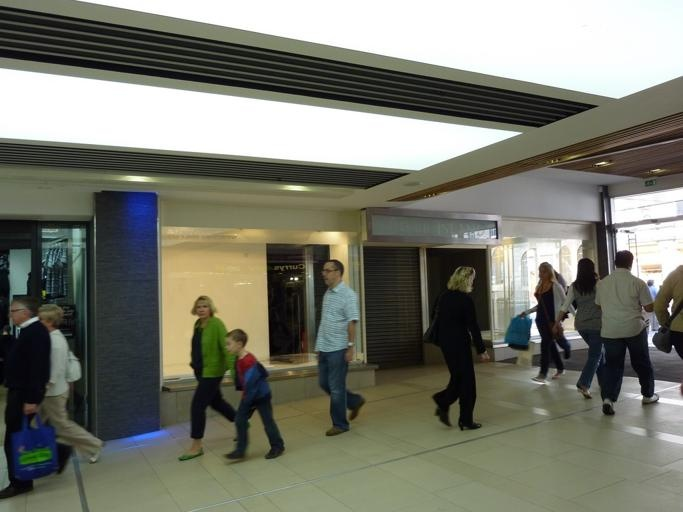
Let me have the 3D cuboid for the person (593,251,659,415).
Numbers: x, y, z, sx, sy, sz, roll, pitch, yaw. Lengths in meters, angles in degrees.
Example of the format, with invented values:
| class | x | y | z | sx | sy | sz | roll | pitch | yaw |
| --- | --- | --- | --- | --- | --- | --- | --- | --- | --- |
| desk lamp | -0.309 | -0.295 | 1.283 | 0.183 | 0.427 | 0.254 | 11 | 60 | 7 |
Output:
| class | x | y | z | sx | sy | sz | roll | pitch | yaw |
| --- | --- | --- | --- | --- | --- | --- | --- | --- | --- |
| person | 3.718 | 0.974 | 6.113 | 0.669 | 2.020 | 0.681 | -6 | -3 | 26 |

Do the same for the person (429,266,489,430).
| class | x | y | z | sx | sy | sz | roll | pitch | yaw |
| --- | --- | --- | --- | --- | --- | --- | --- | --- | --- |
| person | 1.448 | 1.126 | 5.619 | 0.428 | 1.510 | 0.849 | -3 | -3 | -36 |

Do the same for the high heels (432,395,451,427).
| class | x | y | z | sx | sy | sz | roll | pitch | yaw |
| --- | --- | --- | --- | --- | --- | --- | --- | --- | --- |
| high heels | 1.246 | 1.925 | 5.838 | 0.227 | 0.444 | 0.172 | -13 | 11 | 24 |

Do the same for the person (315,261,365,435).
| class | x | y | z | sx | sy | sz | roll | pitch | yaw |
| --- | --- | --- | --- | --- | --- | --- | --- | --- | --- |
| person | -0.047 | 1.129 | 5.811 | 0.583 | 2.125 | 0.357 | -5 | -2 | 7 |

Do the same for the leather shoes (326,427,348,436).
| class | x | y | z | sx | sy | sz | roll | pitch | yaw |
| --- | --- | --- | --- | --- | --- | --- | --- | --- | --- |
| leather shoes | -0.057 | 2.157 | 5.759 | 0.275 | 0.086 | 0.090 | 4 | -7 | -18 |

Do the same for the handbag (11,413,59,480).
| class | x | y | z | sx | sy | sz | roll | pitch | yaw |
| --- | --- | --- | --- | --- | --- | --- | --- | --- | --- |
| handbag | -3.038 | 1.892 | 4.597 | 0.353 | 0.655 | 0.178 | -3 | -3 | -36 |

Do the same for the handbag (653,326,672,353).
| class | x | y | z | sx | sy | sz | roll | pitch | yaw |
| --- | --- | --- | --- | --- | --- | --- | --- | --- | --- |
| handbag | 3.677 | 0.955 | 5.319 | 0.174 | 0.308 | 0.237 | -6 | -3 | 32 |

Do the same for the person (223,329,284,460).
| class | x | y | z | sx | sy | sz | roll | pitch | yaw |
| --- | --- | --- | --- | --- | --- | --- | --- | --- | --- |
| person | -0.979 | 1.500 | 5.003 | 0.618 | 1.415 | 0.394 | -4 | -2 | -9 |

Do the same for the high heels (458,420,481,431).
| class | x | y | z | sx | sy | sz | roll | pitch | yaw |
| --- | --- | --- | --- | --- | --- | --- | --- | --- | --- |
| high heels | 1.611 | 2.065 | 5.719 | 0.324 | 0.126 | 0.098 | -3 | -4 | -5 |
